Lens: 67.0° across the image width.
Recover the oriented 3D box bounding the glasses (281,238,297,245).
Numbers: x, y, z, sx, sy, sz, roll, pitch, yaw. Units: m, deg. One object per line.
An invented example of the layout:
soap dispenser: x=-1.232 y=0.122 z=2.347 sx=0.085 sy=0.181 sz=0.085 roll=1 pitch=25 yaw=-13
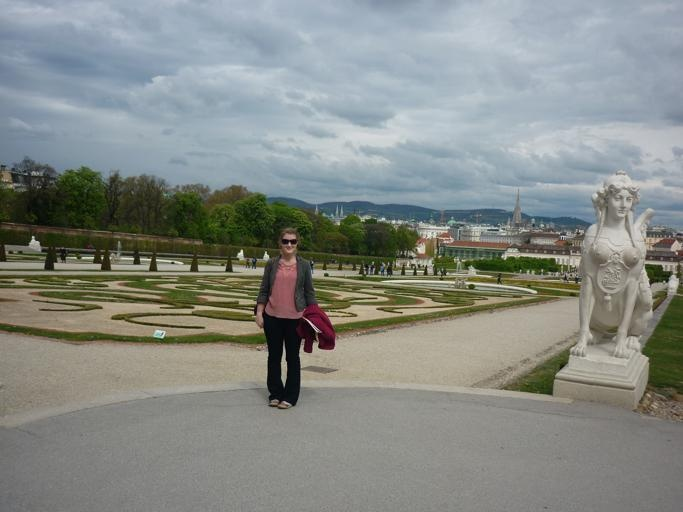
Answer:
glasses: x=-0.620 y=-0.159 z=6.116 sx=0.190 sy=0.062 sz=0.125 roll=3 pitch=0 yaw=-7

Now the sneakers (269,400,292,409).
sneakers: x=-0.687 y=1.679 z=5.851 sx=0.275 sy=0.097 sz=0.167 roll=3 pitch=0 yaw=-3

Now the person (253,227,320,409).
person: x=-0.664 y=0.687 z=6.138 sx=0.692 sy=1.982 sz=0.736 roll=3 pitch=0 yaw=-10

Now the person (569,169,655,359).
person: x=3.799 y=0.107 z=7.253 sx=1.223 sy=2.730 sz=0.805 roll=3 pitch=1 yaw=-39

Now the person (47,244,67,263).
person: x=-20.541 y=-0.131 z=37.174 sx=1.660 sy=1.427 sz=0.628 roll=2 pitch=19 yaw=0
